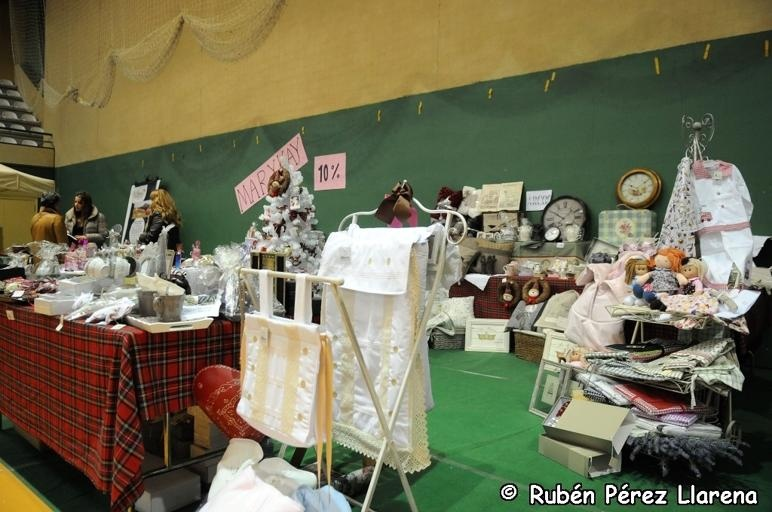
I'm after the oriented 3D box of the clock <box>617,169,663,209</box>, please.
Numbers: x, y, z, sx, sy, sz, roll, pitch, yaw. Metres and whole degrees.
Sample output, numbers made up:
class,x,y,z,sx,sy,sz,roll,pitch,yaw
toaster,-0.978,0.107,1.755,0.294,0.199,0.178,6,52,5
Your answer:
class,x,y,z,sx,sy,sz,roll,pitch,yaw
clock,3.056,-0.815,6.114,0.456,0.555,0.063,4,-20,29

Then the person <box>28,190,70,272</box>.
class,x,y,z,sx,sy,sz,roll,pitch,yaw
person,-4.089,-0.413,6.114,0.384,0.648,3.422,-7,12,-34

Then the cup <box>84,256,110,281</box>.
class,x,y,z,sx,sy,sz,roll,pitch,yaw
cup,-1.924,0.091,3.397,0.103,0.145,0.142,4,-17,28

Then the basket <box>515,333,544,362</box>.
class,x,y,z,sx,sy,sz,roll,pitch,yaw
basket,1.660,1.052,5.824,0.254,0.239,0.314,7,-5,-43

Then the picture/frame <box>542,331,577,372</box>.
class,x,y,z,sx,sy,sz,roll,pitch,yaw
picture/frame,1.563,0.867,4.492,0.341,0.401,0.037,9,-8,45

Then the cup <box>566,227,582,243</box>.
class,x,y,z,sx,sy,sz,roll,pitch,yaw
cup,2.328,-0.270,6.272,0.181,0.185,0.185,-2,10,0

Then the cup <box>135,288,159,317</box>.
class,x,y,z,sx,sy,sz,roll,pitch,yaw
cup,-1.431,0.282,3.011,0.155,0.158,0.140,2,-2,-2

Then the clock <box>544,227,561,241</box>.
class,x,y,z,sx,sy,sz,roll,pitch,yaw
clock,2.160,-0.277,6.479,0.131,0.134,0.047,34,1,44

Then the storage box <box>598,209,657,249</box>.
class,x,y,z,sx,sy,sz,roll,pitch,yaw
storage box,2.859,-0.307,5.895,0.496,0.454,0.181,2,-4,31

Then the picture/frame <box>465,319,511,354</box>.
class,x,y,z,sx,sy,sz,roll,pitch,yaw
picture/frame,1.303,1.028,6.326,0.411,0.317,0.031,0,-4,19

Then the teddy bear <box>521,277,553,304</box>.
class,x,y,z,sx,sy,sz,roll,pitch,yaw
teddy bear,1.826,0.436,6.101,0.297,0.316,0.097,8,-12,44

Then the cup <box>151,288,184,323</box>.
class,x,y,z,sx,sy,sz,roll,pitch,yaw
cup,-1.277,0.295,2.995,0.136,0.211,0.210,8,7,31

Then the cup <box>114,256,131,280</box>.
class,x,y,z,sx,sy,sz,roll,pitch,yaw
cup,-1.795,0.092,3.408,0.118,0.147,0.089,8,13,36

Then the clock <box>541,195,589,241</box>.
class,x,y,z,sx,sy,sz,roll,pitch,yaw
clock,2.329,-0.470,6.462,0.577,0.706,0.124,0,-2,19

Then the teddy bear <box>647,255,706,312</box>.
class,x,y,z,sx,sy,sz,roll,pitch,yaw
teddy bear,2.369,0.238,4.079,0.199,0.369,0.281,26,-28,-15

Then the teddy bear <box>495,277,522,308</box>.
class,x,y,z,sx,sy,sz,roll,pitch,yaw
teddy bear,1.562,0.488,6.404,0.133,0.392,0.306,-8,13,-39

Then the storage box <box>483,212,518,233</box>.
class,x,y,z,sx,sy,sz,roll,pitch,yaw
storage box,1.548,-0.446,6.839,0.447,0.255,0.305,2,0,20
